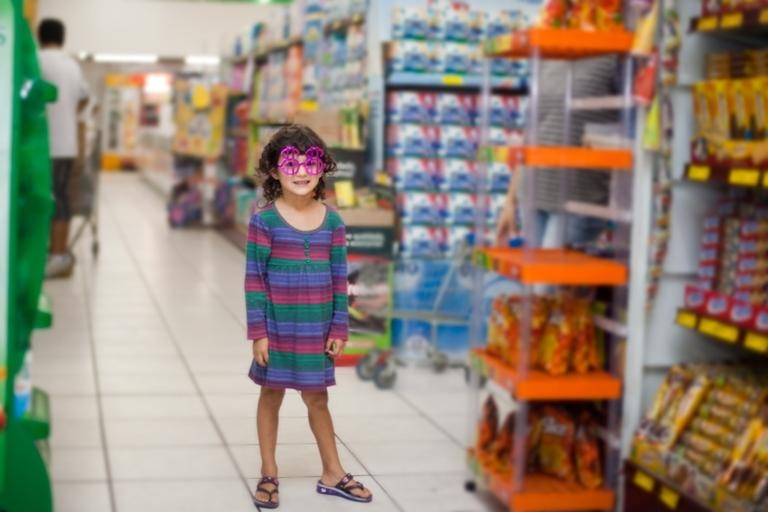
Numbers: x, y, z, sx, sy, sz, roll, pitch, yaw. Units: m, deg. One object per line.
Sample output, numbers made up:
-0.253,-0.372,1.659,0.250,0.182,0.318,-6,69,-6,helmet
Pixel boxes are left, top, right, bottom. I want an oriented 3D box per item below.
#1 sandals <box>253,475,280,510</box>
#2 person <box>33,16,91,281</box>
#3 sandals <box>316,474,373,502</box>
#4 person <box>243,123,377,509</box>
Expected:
-0.515,1.038,2.783,0.068,0.072,0.170,1,-3,-7,sandals
-1.500,-0.561,3.047,0.206,1.082,0.100,0,12,-27,person
-0.176,1.031,2.923,0.234,0.100,0.103,6,2,9,sandals
-0.338,0.265,2.831,0.544,1.646,0.374,4,11,-11,person
